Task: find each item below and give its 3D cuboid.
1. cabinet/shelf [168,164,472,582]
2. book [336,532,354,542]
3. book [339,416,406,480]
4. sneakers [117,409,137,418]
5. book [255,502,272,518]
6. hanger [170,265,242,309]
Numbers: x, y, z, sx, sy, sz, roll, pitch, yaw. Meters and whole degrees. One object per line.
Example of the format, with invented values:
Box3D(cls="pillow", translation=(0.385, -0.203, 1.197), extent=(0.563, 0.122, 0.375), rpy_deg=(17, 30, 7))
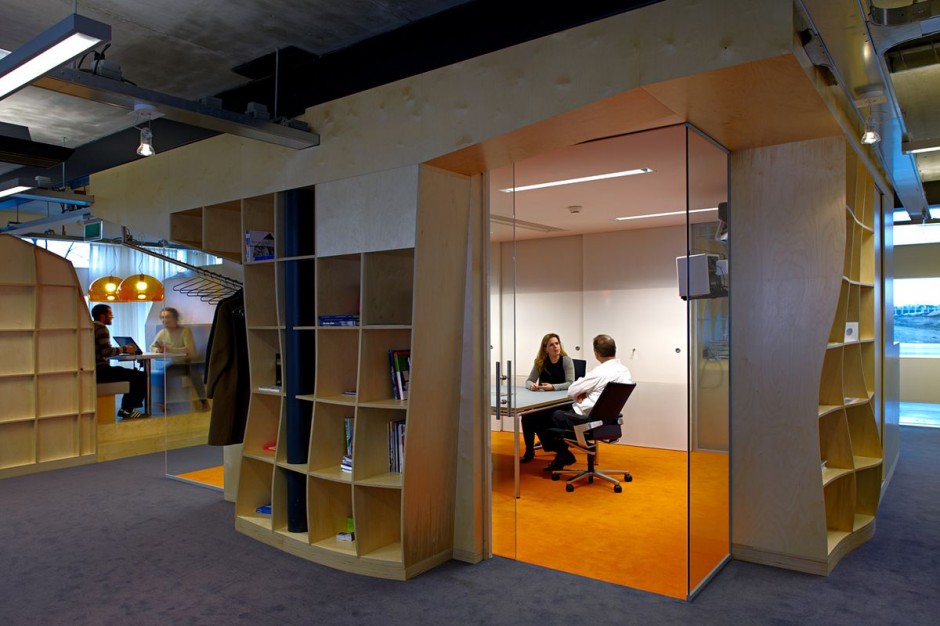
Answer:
Box3D(cls="cabinet/shelf", translation=(-1.321, 0.561, 6.495), extent=(3.855, 3.890, 1.175), rpy_deg=(-2, -3, 38))
Box3D(cls="book", translation=(-1.105, 2.016, 6.264), extent=(0.098, 0.046, 0.124), rpy_deg=(-1, -3, 24))
Box3D(cls="book", translation=(-0.856, 1.225, 6.233), extent=(0.564, 0.535, 0.203), rpy_deg=(0, -1, 12))
Box3D(cls="sneakers", translation=(-4.876, 1.433, 9.743), extent=(0.298, 0.126, 0.109), rpy_deg=(-2, 1, -34))
Box3D(cls="book", translation=(-2.049, 1.956, 6.861), extent=(0.156, 0.158, 0.100), rpy_deg=(-1, 19, 10))
Box3D(cls="hanger", translation=(-3.066, -0.325, 8.043), extent=(0.777, 0.504, 0.188), rpy_deg=(6, -11, 24))
